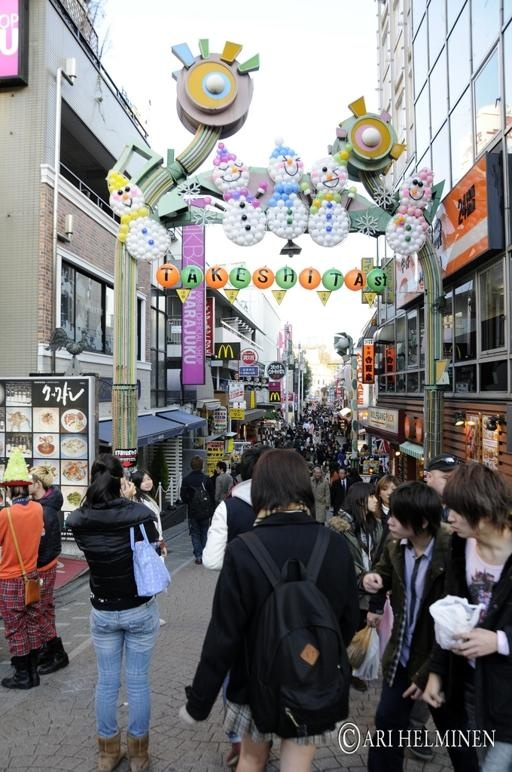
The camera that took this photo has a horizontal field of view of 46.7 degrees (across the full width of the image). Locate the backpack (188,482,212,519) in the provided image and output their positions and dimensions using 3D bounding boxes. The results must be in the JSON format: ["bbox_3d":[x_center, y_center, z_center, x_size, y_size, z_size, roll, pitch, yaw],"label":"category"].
[{"bbox_3d":[-0.953,1.933,9.890,0.404,0.625,0.302,11,-35,-29],"label":"backpack"}]

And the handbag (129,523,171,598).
[{"bbox_3d":[-0.656,1.026,3.540,0.118,0.467,0.200,-35,-24,31],"label":"handbag"}]

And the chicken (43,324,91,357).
[{"bbox_3d":[-3.330,-0.756,10.403,0.545,0.347,0.585,-2,-1,5],"label":"chicken"}]
